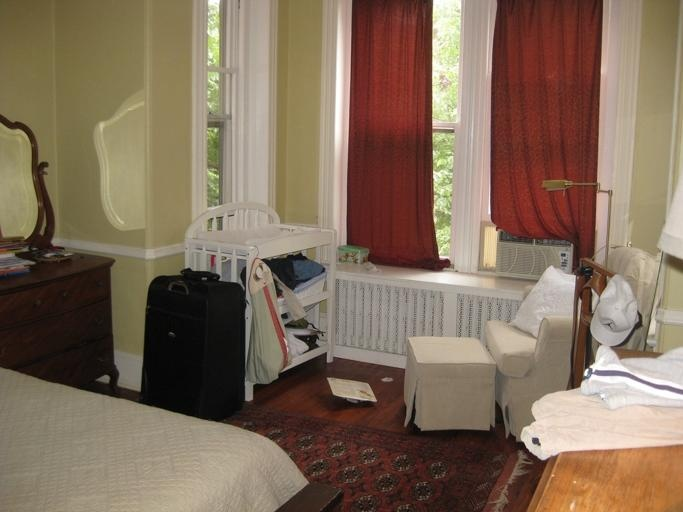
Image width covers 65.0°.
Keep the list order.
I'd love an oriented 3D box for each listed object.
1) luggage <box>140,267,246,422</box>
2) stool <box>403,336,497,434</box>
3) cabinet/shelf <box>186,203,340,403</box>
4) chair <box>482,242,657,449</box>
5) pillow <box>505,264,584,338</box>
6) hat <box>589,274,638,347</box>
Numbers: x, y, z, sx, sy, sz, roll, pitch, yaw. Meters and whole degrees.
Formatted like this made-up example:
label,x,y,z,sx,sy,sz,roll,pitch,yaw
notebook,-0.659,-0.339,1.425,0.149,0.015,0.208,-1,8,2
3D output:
label,x,y,z,sx,sy,sz,roll,pitch,yaw
luggage,-0.935,0.529,3.352,0.540,0.841,0.422,7,9,22
stool,0.652,0.805,3.402,0.490,0.462,0.518,0,3,0
cabinet/shelf,-0.537,0.356,3.623,0.717,1.536,1.084,6,10,31
chair,1.240,0.493,3.445,1.037,1.458,1.101,2,3,15
pillow,1.272,0.317,3.359,0.119,0.422,0.370,15,20,-28
hat,1.028,0.210,2.029,0.144,0.249,0.160,-3,13,-18
